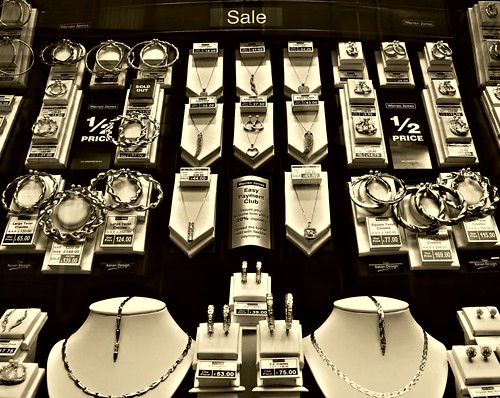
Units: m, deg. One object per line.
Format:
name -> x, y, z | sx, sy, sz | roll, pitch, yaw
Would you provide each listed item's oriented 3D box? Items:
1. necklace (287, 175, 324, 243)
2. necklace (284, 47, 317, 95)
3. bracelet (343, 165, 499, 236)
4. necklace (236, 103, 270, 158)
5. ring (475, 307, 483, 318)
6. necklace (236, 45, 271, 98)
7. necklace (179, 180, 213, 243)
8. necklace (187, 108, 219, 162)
necklace -> 0.416, 0.106, 2.595 | 0.312, 0.131, 0.575 | 3, 57, 6
necklace -> 0.473, -1.121, 3.179 | 0.284, 0.105, 0.431 | -1, 60, 2
bracelet -> 1.251, 0.047, 2.605 | 0.779, 0.144, 0.555 | 8, 52, 13
necklace -> 0.016, -0.537, 2.909 | 0.261, 0.073, 0.486 | 2, 56, 0
ring -> 1.403, 0.698, 2.174 | 0.039, 0.052, 0.050 | 2, 79, 9
necklace -> 0.050, -1.111, 3.302 | 0.295, 0.228, 0.543 | -1, 63, -1
necklace -> -0.399, 0.093, 2.520 | 0.235, 0.006, 0.409 | -6, 65, 16
necklace -> -0.369, -0.498, 2.844 | 0.161, 0.066, 0.490 | 3, 45, -1
